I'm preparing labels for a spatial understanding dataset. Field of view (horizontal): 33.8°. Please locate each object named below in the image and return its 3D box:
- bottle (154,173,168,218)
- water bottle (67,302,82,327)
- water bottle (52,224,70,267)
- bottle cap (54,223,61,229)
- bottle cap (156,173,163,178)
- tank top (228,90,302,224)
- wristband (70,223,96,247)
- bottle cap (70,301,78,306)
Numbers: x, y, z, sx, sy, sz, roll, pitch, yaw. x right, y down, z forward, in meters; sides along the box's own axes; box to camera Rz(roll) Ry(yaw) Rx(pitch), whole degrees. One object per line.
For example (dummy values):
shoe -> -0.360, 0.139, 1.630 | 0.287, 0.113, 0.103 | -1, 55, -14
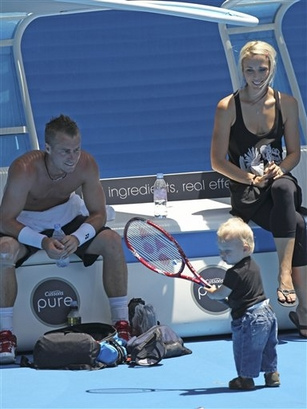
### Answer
bottle -> 0.059, -0.050, 3.557 | 0.115, 0.330, 0.103 | -2, 0, 15
water bottle -> -0.430, 0.597, 2.750 | 0.083, 0.122, 0.082 | -3, -2, 0
water bottle -> -0.504, 0.226, 2.768 | 0.084, 0.235, 0.233 | -3, -2, -11
bottle cap -> -0.531, 0.121, 2.780 | 0.032, 0.024, 0.031 | 7, 17, 37
bottle cap -> 0.042, -0.209, 3.563 | 0.056, 0.034, 0.050 | 0, -11, 4
tank top -> 0.549, -0.299, 2.974 | 0.565, 0.711, 0.419 | -3, 18, -11
wristband -> -0.366, 0.154, 2.698 | 0.148, 0.104, 0.083 | -29, 21, 12
bottle cap -> -0.436, 0.543, 2.774 | 0.029, 0.021, 0.006 | 6, -22, -16
